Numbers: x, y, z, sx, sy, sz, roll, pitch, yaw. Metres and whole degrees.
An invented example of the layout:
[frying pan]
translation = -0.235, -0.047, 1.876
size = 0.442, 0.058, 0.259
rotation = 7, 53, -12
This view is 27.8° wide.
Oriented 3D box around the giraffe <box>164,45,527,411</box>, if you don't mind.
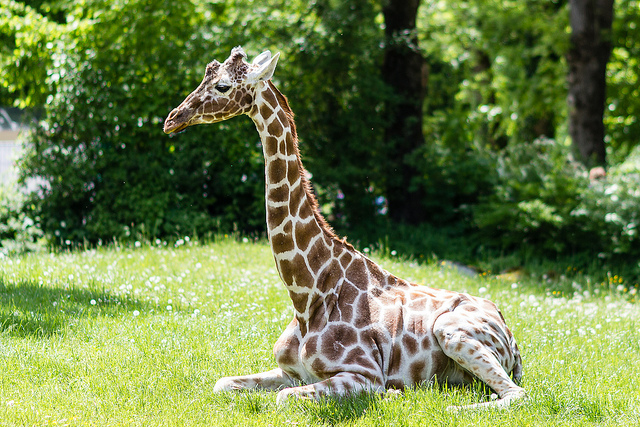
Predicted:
[giraffe]
translation = 0.654, 1.435, 28.903
size = 8.524, 9.714, 4.378
rotation = 5, -9, -11
